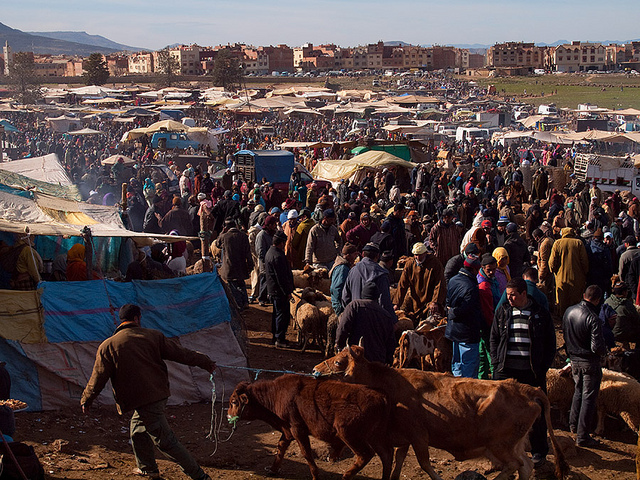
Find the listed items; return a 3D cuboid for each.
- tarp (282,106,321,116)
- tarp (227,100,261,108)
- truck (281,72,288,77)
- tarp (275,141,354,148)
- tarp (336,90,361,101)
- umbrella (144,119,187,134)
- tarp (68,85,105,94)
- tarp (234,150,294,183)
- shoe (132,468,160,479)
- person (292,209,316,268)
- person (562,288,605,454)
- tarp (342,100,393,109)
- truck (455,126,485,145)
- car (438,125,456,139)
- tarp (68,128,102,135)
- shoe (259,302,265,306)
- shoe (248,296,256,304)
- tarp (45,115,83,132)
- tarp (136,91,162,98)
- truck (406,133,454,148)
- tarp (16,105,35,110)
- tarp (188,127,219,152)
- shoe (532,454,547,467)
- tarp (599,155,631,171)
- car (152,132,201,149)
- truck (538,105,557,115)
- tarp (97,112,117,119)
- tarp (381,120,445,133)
[{"bbox_3d":[-1.271,-9.035,48.867,1.303,0.637,3.665,-9,12,-33],"label":"tarp"},{"bbox_3d":[-5.183,-9.413,48.686,1.424,0.371,1.476,5,14,31],"label":"tarp"},{"bbox_3d":[-6.792,-31.980,135.432,1.168,1.008,8.439,-3,10,-2],"label":"truck"},{"bbox_3d":[-0.076,-4.260,31.529,2.709,0.281,2.740,-7,10,-23],"label":"tarp"},{"bbox_3d":[3.021,-15.064,72.638,2.369,0.876,4.656,-2,10,2],"label":"tarp"},{"bbox_3d":[-7.199,-5.346,33.469,1.005,0.491,1.423,-1,4,5],"label":"umbrella"},{"bbox_3d":[-19.566,-12.716,59.581,2.108,0.804,4.006,-8,11,-30],"label":"tarp"},{"bbox_3d":[-1.631,-2.411,23.346,1.264,0.815,1.249,-1,4,-28],"label":"tarp"},{"bbox_3d":[-1.941,2.613,7.895,0.286,0.119,0.116,11,2,15],"label":"shoe"},{"bbox_3d":[-0.322,0.003,14.394,0.460,1.098,0.888,-2,10,1],"label":"person"},{"bbox_3d":[3.292,1.602,8.704,0.362,2.029,0.582,-6,11,-18],"label":"person"},{"bbox_3d":[3.226,-9.242,48.248,2.338,0.507,5.542,0,10,17],"label":"tarp"},{"bbox_3d":[10.381,-7.356,48.554,1.429,1.256,2.228,-2,5,-11],"label":"truck"},{"bbox_3d":[9.479,-8.064,52.122,1.257,0.998,1.777,-3,3,-5],"label":"car"},{"bbox_3d":[-12.566,-5.812,37.739,1.617,0.260,1.573,-6,10,-21],"label":"tarp"},{"bbox_3d":[-1.159,1.300,14.034,0.070,0.063,0.101,0,0,-3],"label":"shoe"},{"bbox_3d":[-1.386,1.232,14.333,0.101,0.090,0.180,-4,1,6],"label":"shoe"},{"bbox_3d":[-16.403,-7.457,45.254,1.690,0.848,1.664,-2,7,-27],"label":"tarp"},{"bbox_3d":[-16.617,-14.139,67.850,1.533,0.495,1.547,0,8,14],"label":"tarp"},{"bbox_3d":[7.233,-6.649,46.432,2.776,0.935,1.484,-7,11,-22],"label":"truck"},{"bbox_3d":[-21.292,-9.614,50.939,0.733,0.217,0.771,-1,1,23],"label":"tarp"},{"bbox_3d":[-6.143,-5.111,37.096,1.479,0.657,1.446,-3,16,-31],"label":"tarp"},{"bbox_3d":[2.527,2.566,8.126,0.102,0.129,0.288,1,5,22],"label":"shoe"},{"bbox_3d":[9.928,-2.634,23.924,0.660,0.549,0.232,4,48,18],"label":"tarp"},{"bbox_3d":[-7.243,-4.974,35.015,1.920,0.930,1.137,-2,9,-6],"label":"car"},{"bbox_3d":[23.286,-13.320,72.252,1.352,1.241,2.014,-5,6,-28],"label":"truck"},{"bbox_3d":[-13.922,-8.165,45.762,1.148,0.303,0.969,-3,10,-2],"label":"tarp"},{"bbox_3d":[5.277,-6.913,43.016,2.511,0.628,6.731,-1,10,8],"label":"tarp"}]
